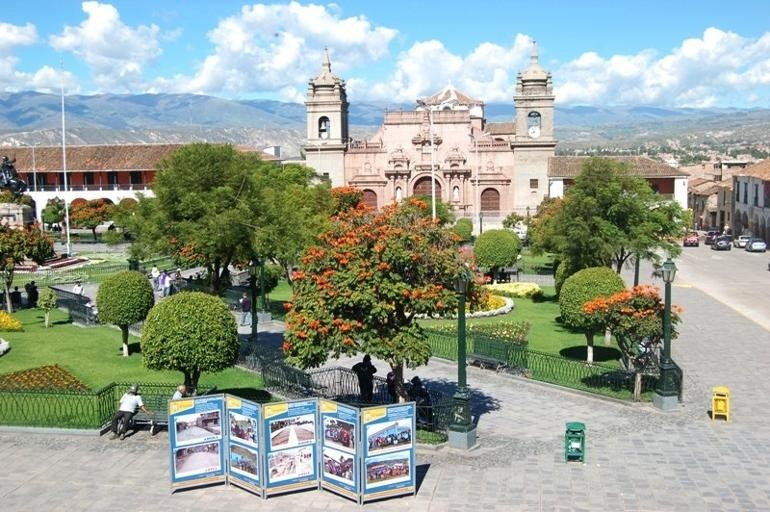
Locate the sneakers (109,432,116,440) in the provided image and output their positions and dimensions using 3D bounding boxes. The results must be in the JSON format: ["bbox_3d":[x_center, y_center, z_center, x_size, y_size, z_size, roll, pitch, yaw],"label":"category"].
[{"bbox_3d":[-9.157,5.989,25.952,0.242,0.132,0.380,-10,17,-38],"label":"sneakers"}]

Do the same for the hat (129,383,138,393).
[{"bbox_3d":[-8.467,4.451,26.163,0.253,0.285,0.309,1,7,-15],"label":"hat"}]

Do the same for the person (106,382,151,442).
[{"bbox_3d":[-8.655,5.170,26.091,1.216,1.670,0.801,-6,14,-23],"label":"person"}]

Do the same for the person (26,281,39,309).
[{"bbox_3d":[-20.861,2.207,45.655,0.578,1.256,1.984,-6,14,-22],"label":"person"}]

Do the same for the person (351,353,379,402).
[{"bbox_3d":[-0.716,4.210,27.621,0.727,1.992,1.420,0,13,-2],"label":"person"}]

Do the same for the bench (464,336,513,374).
[{"bbox_3d":[4.300,4.102,32.998,1.946,1.182,0.699,6,14,34],"label":"bench"}]

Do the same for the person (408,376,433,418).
[{"bbox_3d":[1.216,4.870,26.574,1.343,1.271,0.738,-1,-2,0],"label":"person"}]

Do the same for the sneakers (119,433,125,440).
[{"bbox_3d":[-8.770,6.005,25.862,0.118,0.211,0.221,1,11,-32],"label":"sneakers"}]

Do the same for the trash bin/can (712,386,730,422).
[{"bbox_3d":[11.908,5.128,27.238,0.651,1.111,0.793,6,14,24],"label":"trash bin/can"}]

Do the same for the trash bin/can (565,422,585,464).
[{"bbox_3d":[5.997,5.778,24.286,0.610,1.178,0.425,3,14,13],"label":"trash bin/can"}]
